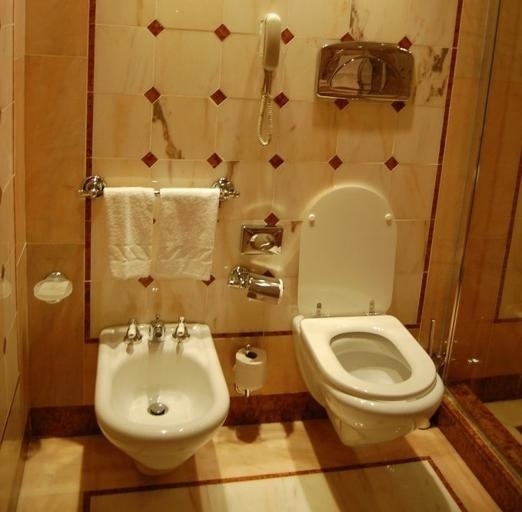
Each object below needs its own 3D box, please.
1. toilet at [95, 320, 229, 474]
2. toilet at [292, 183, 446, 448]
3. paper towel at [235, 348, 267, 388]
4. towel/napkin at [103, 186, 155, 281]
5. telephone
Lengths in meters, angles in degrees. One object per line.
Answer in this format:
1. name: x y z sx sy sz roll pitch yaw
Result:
1. toilet: -0.328 0.504 1.541 0.362 0.325 0.535 6 20 -6
2. toilet: 0.348 0.222 1.626 0.359 0.821 0.596 -4 20 -12
3. paper towel: -0.029 0.398 1.797 0.110 0.139 0.123 11 -26 -20
4. towel/napkin: -0.429 -0.079 1.601 0.162 0.382 0.054 -5 42 -21
5. telephone: 0.025 -0.556 1.559 0.070 0.418 0.156 3 16 0
